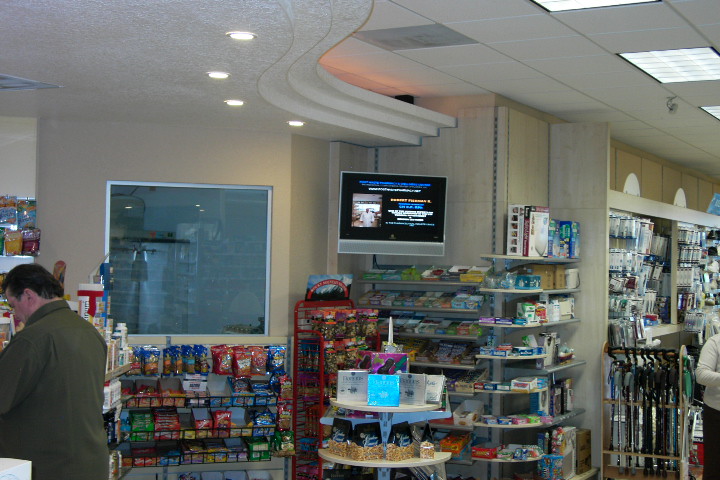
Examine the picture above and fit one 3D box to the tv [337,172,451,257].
[{"bbox_3d":[0.393,-0.325,7.647,1.214,0.816,0.120,2,-3,-4],"label":"tv"}]
